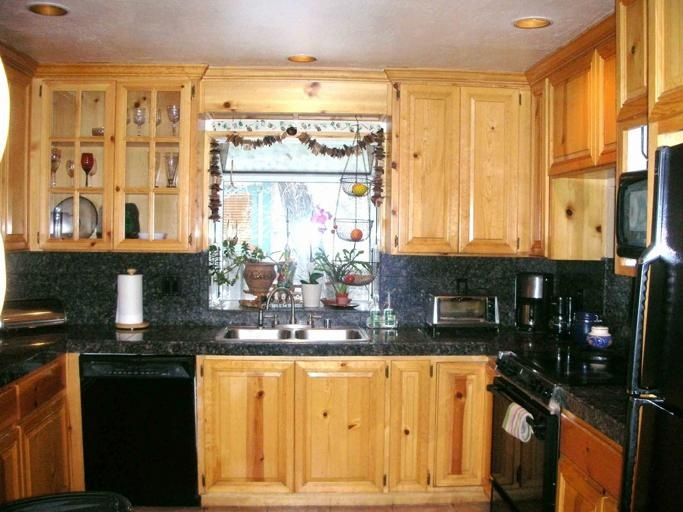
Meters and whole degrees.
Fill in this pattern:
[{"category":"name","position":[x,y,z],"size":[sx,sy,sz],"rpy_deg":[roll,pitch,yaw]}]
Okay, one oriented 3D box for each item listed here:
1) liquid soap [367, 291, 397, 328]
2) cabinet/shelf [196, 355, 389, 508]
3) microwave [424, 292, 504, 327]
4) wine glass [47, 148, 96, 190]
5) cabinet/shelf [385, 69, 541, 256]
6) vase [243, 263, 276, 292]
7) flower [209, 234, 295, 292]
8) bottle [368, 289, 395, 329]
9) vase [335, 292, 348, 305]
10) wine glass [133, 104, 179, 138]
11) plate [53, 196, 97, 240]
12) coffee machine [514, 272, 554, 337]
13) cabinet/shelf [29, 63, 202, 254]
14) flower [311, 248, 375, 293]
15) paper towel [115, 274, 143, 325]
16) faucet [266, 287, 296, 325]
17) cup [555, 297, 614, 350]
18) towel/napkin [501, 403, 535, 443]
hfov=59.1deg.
[{"category":"liquid soap","position":[0.288,0.380,4.185],"size":[0.249,0.267,0.150],"rpy_deg":[1,-1,10]},{"category":"cabinet/shelf","position":[-0.339,1.034,3.686],"size":[0.973,0.698,0.342],"rpy_deg":[0,-3,-2]},{"category":"microwave","position":[0.816,0.370,4.076],"size":[0.452,0.213,0.144],"rpy_deg":[-1,0,-4]},{"category":"wine glass","position":[-1.797,-0.584,4.018],"size":[0.307,0.253,0.102],"rpy_deg":[1,3,-2]},{"category":"cabinet/shelf","position":[0.799,-0.659,4.011],"size":[1.256,1.473,0.531],"rpy_deg":[0,-1,-5]},{"category":"vase","position":[-0.569,0.142,4.305],"size":[0.208,0.179,0.212],"rpy_deg":[-1,5,13]},{"category":"flower","position":[-0.670,0.066,4.476],"size":[0.387,0.293,0.557],"rpy_deg":[-5,-8,41]},{"category":"bottle","position":[0.286,0.373,4.208],"size":[0.198,0.255,0.224],"rpy_deg":[-1,0,9]},{"category":"vase","position":[0.003,0.308,4.270],"size":[0.095,0.089,0.068],"rpy_deg":[-1,0,-2]},{"category":"wine glass","position":[-1.244,-0.906,4.025],"size":[0.249,0.148,0.081],"rpy_deg":[-1,-4,-9]},{"category":"plate","position":[-1.796,-0.249,4.050],"size":[0.291,0.281,0.070],"rpy_deg":[5,1,-10]},{"category":"coffee machine","position":[1.323,0.316,4.138],"size":[0.251,0.410,0.195],"rpy_deg":[-1,0,17]},{"category":"cabinet/shelf","position":[-1.506,-0.659,3.995],"size":[1.259,1.479,0.403],"rpy_deg":[1,-2,-8]},{"category":"flower","position":[0.018,0.114,4.352],"size":[0.430,0.362,0.281],"rpy_deg":[1,0,8]},{"category":"paper towel","position":[-1.412,0.290,3.992],"size":[0.166,0.332,0.154],"rpy_deg":[-1,0,-16]},{"category":"faucet","position":[-0.420,0.336,4.132],"size":[0.204,0.251,0.447],"rpy_deg":[-1,0,-4]},{"category":"cup","position":[1.508,0.416,3.763],"size":[0.193,0.195,0.324],"rpy_deg":[2,-3,-9]},{"category":"towel/napkin","position":[0.929,0.882,3.173],"size":[0.076,0.180,0.183],"rpy_deg":[-12,17,-27]}]
